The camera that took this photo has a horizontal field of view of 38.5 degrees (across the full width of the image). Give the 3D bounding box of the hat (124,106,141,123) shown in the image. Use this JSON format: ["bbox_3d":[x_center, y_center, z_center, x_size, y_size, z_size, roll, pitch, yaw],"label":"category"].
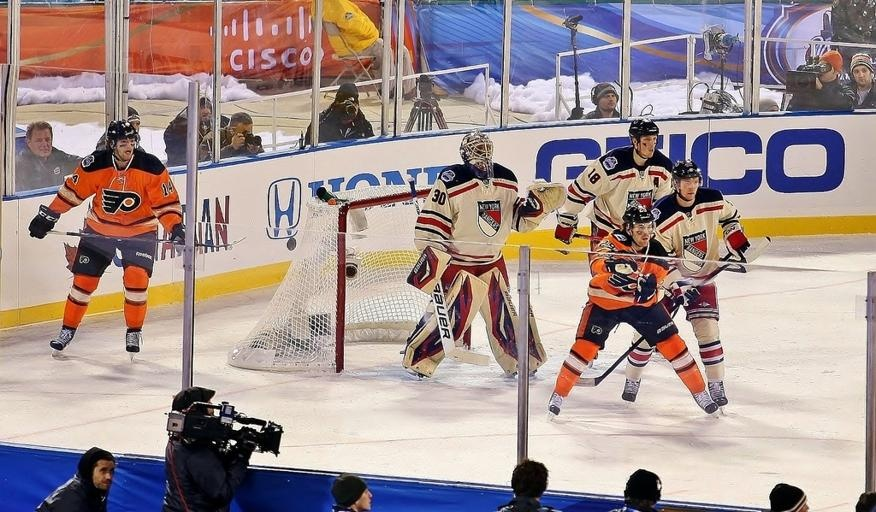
[{"bbox_3d":[-2.433,-1.141,10.065,0.143,0.063,0.186,7,20,-10],"label":"hat"}]

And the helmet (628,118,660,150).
[{"bbox_3d":[1.664,-1.003,10.201,0.267,0.240,0.197,-11,13,16],"label":"helmet"}]

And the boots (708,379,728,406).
[{"bbox_3d":[1.727,0.855,7.749,0.071,0.187,0.081,-21,-6,13],"label":"boots"}]

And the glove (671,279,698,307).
[{"bbox_3d":[1.549,0.226,7.907,0.167,0.126,0.073,43,13,27],"label":"glove"}]

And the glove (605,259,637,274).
[{"bbox_3d":[1.163,0.061,7.965,0.163,0.058,0.108,4,4,-15],"label":"glove"}]

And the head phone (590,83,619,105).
[{"bbox_3d":[1.802,-1.804,13.677,0.275,0.202,0.256,-7,-1,-10],"label":"head phone"}]

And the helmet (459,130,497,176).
[{"bbox_3d":[0.317,-0.791,9.745,0.295,0.299,0.350,-6,11,-22],"label":"helmet"}]

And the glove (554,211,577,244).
[{"bbox_3d":[1.049,-0.237,10.276,0.206,0.235,0.104,17,5,13],"label":"glove"}]

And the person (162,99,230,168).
[{"bbox_3d":[-2.076,-1.006,10.789,0.564,0.397,0.814,-3,23,-9],"label":"person"}]

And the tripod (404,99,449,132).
[{"bbox_3d":[-0.143,-1.465,13.103,0.371,0.446,0.464,-11,16,-33],"label":"tripod"}]

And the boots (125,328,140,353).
[{"bbox_3d":[-2.066,0.578,8.539,0.077,0.197,0.082,-1,-28,-6],"label":"boots"}]

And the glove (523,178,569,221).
[{"bbox_3d":[0.812,-0.471,9.860,0.355,0.200,0.217,-7,15,42],"label":"glove"}]

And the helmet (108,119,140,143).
[{"bbox_3d":[-2.336,-0.931,9.331,0.209,0.179,0.178,2,11,40],"label":"helmet"}]

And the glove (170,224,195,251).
[{"bbox_3d":[-1.703,-0.121,8.440,0.056,0.162,0.181,19,-22,-38],"label":"glove"}]

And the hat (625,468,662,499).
[{"bbox_3d":[1.211,1.367,7.472,0.172,0.195,0.177,-3,53,2],"label":"hat"}]

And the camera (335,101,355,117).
[{"bbox_3d":[-0.898,-1.491,12.572,0.172,0.156,0.158,-25,45,0],"label":"camera"}]

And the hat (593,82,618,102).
[{"bbox_3d":[1.773,-1.808,13.709,0.206,0.186,0.258,-10,-13,-34],"label":"hat"}]

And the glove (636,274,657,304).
[{"bbox_3d":[1.333,0.211,8.043,0.124,0.183,0.055,13,15,31],"label":"glove"}]

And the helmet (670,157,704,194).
[{"bbox_3d":[1.916,-0.630,9.515,0.245,0.277,0.292,-6,0,-24],"label":"helmet"}]

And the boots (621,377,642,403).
[{"bbox_3d":[1.209,0.842,7.847,0.089,0.168,0.070,13,-4,4],"label":"boots"}]

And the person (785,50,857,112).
[{"bbox_3d":[4.279,-1.973,14.073,0.752,0.676,0.300,2,9,8],"label":"person"}]

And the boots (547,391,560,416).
[{"bbox_3d":[0.739,0.942,7.924,0.085,0.134,0.052,14,-6,-9],"label":"boots"}]

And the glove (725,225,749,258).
[{"bbox_3d":[2.274,-0.109,9.563,0.189,0.229,0.094,-24,12,10],"label":"glove"}]

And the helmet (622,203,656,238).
[{"bbox_3d":[1.474,-0.251,8.922,0.219,0.238,0.253,-12,24,-25],"label":"helmet"}]
